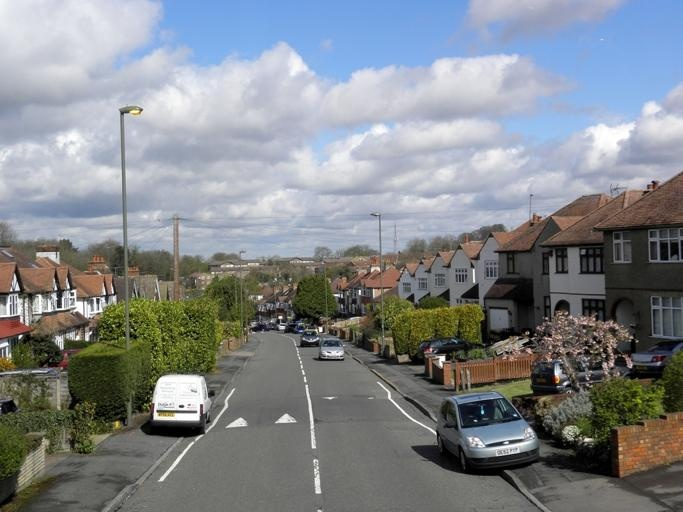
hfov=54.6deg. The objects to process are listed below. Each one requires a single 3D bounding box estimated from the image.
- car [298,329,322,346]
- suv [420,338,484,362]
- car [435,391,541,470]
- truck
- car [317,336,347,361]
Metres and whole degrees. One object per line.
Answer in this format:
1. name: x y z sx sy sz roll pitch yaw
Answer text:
1. car: -3.304 8.690 70.000 1.995 1.663 2.856 -2 -2 -6
2. suv: 7.242 6.567 44.992 3.660 1.485 1.768 -4 1 -15
3. car: 4.674 5.619 21.387 2.389 2.386 2.975 -2 -1 -12
4. truck: -6.151 5.672 26.587 1.510 1.421 2.716 -1 -2 0
5. car: -0.857 7.607 54.012 1.827 1.810 2.306 -2 -1 -11
